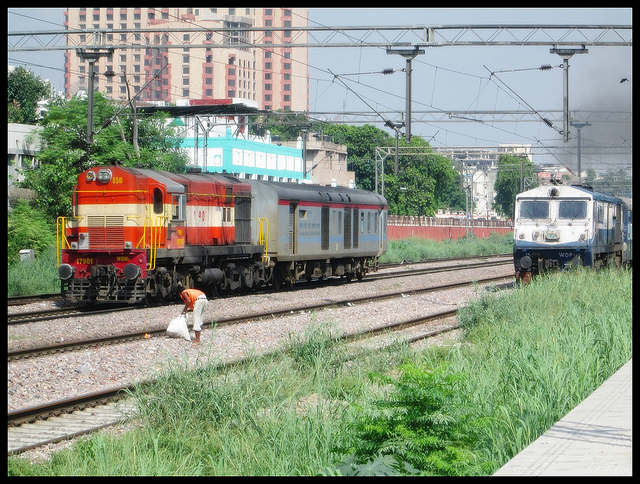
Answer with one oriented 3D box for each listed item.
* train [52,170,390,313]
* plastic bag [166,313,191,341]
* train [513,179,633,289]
[{"bbox_3d":[-3.204,-0.245,26.828,5.060,4.371,16.661,4,3,34],"label":"train"},{"bbox_3d":[-3.343,2.075,16.073,0.416,0.491,0.210,24,2,-14],"label":"plastic bag"},{"bbox_3d":[10.761,-0.289,28.194,3.307,4.624,12.125,-1,0,22],"label":"train"}]
